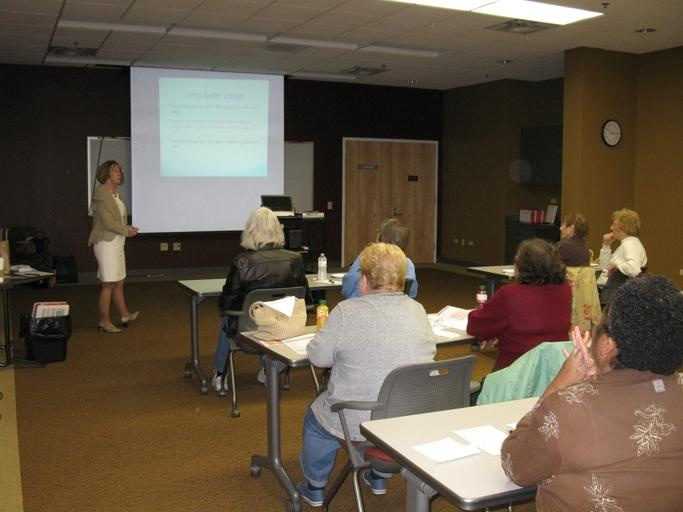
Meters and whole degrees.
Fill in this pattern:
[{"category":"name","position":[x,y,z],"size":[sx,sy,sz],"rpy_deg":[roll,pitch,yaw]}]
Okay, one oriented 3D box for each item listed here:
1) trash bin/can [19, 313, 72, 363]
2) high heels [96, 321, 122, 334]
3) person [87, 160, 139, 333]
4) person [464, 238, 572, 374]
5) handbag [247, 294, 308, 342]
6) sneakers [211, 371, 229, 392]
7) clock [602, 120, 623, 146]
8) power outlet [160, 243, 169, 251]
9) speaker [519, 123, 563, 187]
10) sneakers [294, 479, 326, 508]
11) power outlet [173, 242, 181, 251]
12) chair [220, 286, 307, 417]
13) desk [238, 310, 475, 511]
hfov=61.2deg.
[{"category":"trash bin/can","position":[-2.827,0.794,5.547],"size":[0.445,0.460,0.427],"rpy_deg":[1,-2,-37]},{"category":"high heels","position":[-2.763,0.849,6.804],"size":[0.342,0.157,0.120],"rpy_deg":[-5,-4,28]},{"category":"person","position":[-2.783,-0.156,7.067],"size":[0.501,1.971,1.205],"rpy_deg":[-2,9,-20]},{"category":"person","position":[1.149,0.458,3.656],"size":[0.531,1.110,0.589],"rpy_deg":[-4,4,-29]},{"category":"handbag","position":[-0.384,0.372,3.644],"size":[0.309,0.268,0.496],"rpy_deg":[0,1,21]},{"category":"sneakers","position":[-1.046,1.089,4.954],"size":[0.090,0.117,0.247],"rpy_deg":[2,-2,-24]},{"category":"clock","position":[3.739,-1.705,7.998],"size":[0.302,0.325,0.034],"rpy_deg":[-15,10,-35]},{"category":"power outlet","position":[-3.047,-0.151,9.893],"size":[0.126,0.142,0.018],"rpy_deg":[-1,6,-27]},{"category":"speaker","position":[3.754,-1.815,10.472],"size":[0.369,1.069,1.106],"rpy_deg":[-7,12,-20]},{"category":"sneakers","position":[-0.185,1.317,3.226],"size":[0.085,0.110,0.248],"rpy_deg":[2,5,-25]},{"category":"power outlet","position":[-2.849,-0.157,9.971],"size":[0.129,0.140,0.013],"rpy_deg":[-3,8,-32]},{"category":"chair","position":[-0.601,0.745,4.735],"size":[0.699,1.016,0.664],"rpy_deg":[0,3,-26]},{"category":"desk","position":[0.048,0.826,3.527],"size":[1.617,1.182,0.822],"rpy_deg":[-3,6,-38]}]
